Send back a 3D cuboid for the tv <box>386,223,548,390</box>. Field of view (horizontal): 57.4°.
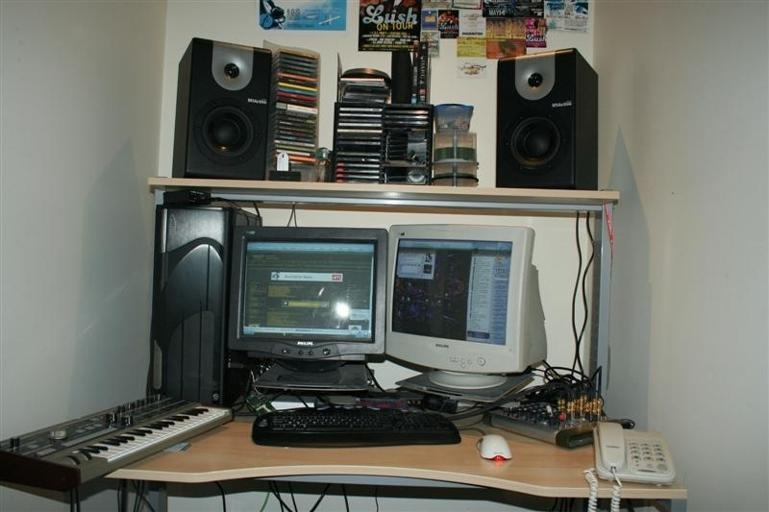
[{"bbox_3d":[0.320,0.164,2.694,0.719,0.692,0.534,-2,-6,23],"label":"tv"}]

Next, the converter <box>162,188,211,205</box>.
[{"bbox_3d":[-0.689,-0.199,2.455,0.104,0.036,0.076,2,1,18],"label":"converter"}]

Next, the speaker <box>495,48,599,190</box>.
[{"bbox_3d":[0.602,-0.485,2.567,0.382,0.497,0.176,2,1,3],"label":"speaker"}]

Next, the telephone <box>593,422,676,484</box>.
[{"bbox_3d":[0.742,0.590,2.093,0.225,0.174,0.160,2,1,16],"label":"telephone"}]
